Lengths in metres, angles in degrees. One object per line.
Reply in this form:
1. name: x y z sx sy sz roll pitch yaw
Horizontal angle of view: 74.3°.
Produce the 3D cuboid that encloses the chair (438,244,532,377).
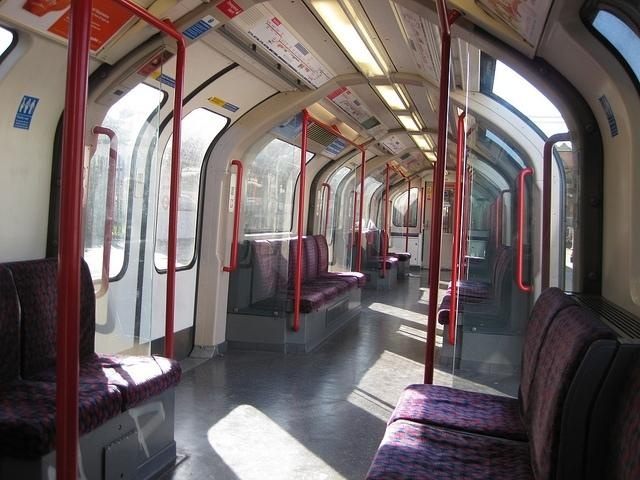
1. chair: 1.631 0.690 4.110 0.506 0.776 1.606 2 -1 12
